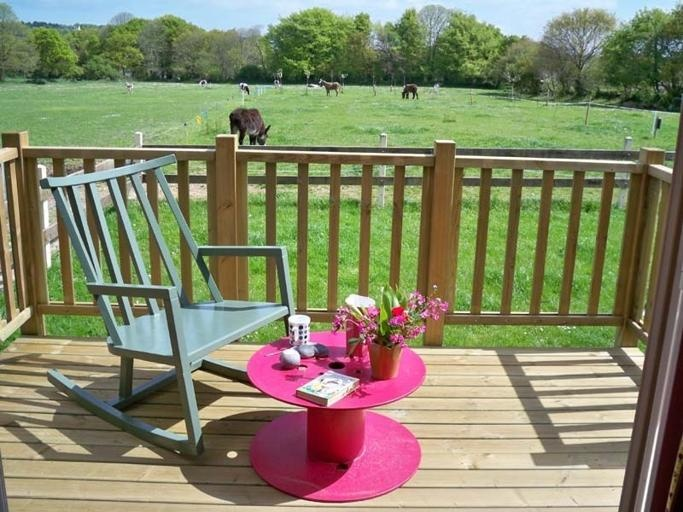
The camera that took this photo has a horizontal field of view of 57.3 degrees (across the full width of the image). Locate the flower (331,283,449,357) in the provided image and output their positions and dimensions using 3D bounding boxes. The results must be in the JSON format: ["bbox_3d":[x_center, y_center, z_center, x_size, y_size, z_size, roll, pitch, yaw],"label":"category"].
[{"bbox_3d":[0.231,0.272,2.936,0.492,0.286,0.325,-10,13,-33],"label":"flower"}]

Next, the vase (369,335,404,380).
[{"bbox_3d":[0.198,0.468,2.861,0.165,0.160,0.147,1,1,-29],"label":"vase"}]

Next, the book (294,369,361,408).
[{"bbox_3d":[-0.058,0.582,2.770,0.147,0.033,0.153,9,18,38],"label":"book"}]

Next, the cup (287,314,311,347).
[{"bbox_3d":[-0.216,0.367,3.167,0.095,0.110,0.151,-3,9,-20],"label":"cup"}]

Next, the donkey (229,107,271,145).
[{"bbox_3d":[-2.534,-3.480,16.776,0.734,0.986,1.259,2,18,13],"label":"donkey"}]

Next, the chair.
[{"bbox_3d":[-0.878,0.223,3.392,1.108,1.273,1.294,-11,21,-41],"label":"chair"}]
